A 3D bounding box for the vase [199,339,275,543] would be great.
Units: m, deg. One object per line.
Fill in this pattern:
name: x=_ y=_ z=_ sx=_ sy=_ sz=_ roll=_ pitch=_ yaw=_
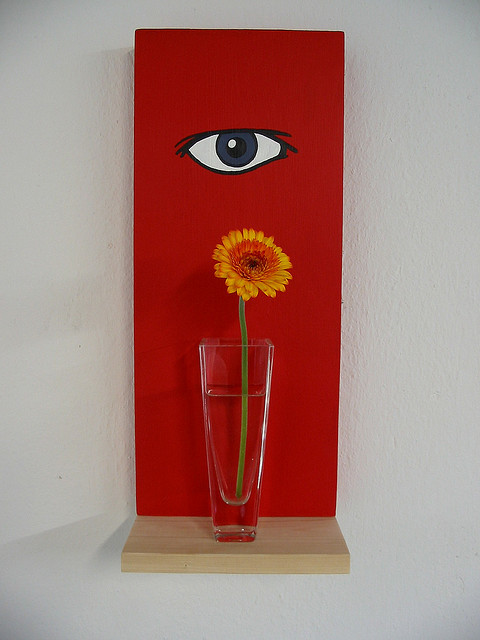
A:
vase: x=-0.008 y=0.172 z=0.912 sx=0.100 sy=0.273 sz=0.061 roll=1 pitch=9 yaw=-3
